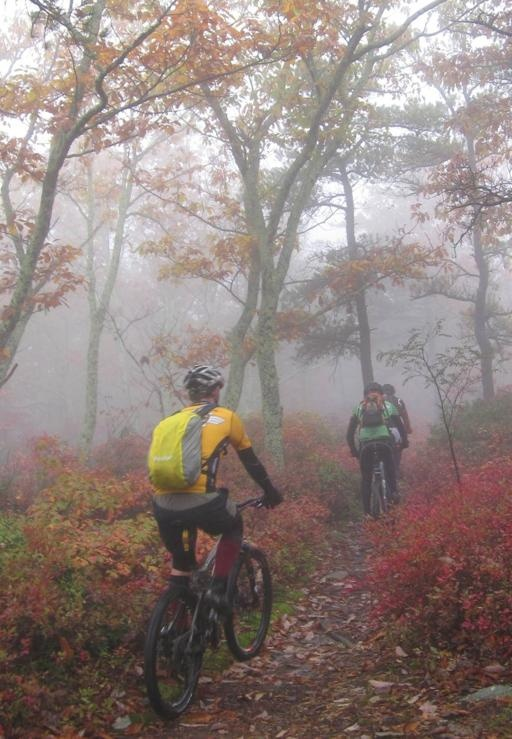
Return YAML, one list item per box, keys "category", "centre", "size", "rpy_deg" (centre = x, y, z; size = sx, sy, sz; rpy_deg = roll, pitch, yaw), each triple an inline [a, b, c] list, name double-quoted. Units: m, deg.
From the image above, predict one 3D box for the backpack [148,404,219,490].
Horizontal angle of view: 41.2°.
- category: "backpack"
  centre: [-0.648, 0.673, 5.680]
  size: [0.461, 0.689, 0.537]
  rpy_deg: [-2, 4, 10]

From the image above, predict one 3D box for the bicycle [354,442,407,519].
- category: "bicycle"
  centre: [1.914, 1.670, 10.385]
  size: [0.454, 1.166, 0.795]
  rpy_deg: [-4, 4, -20]

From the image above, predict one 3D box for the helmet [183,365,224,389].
- category: "helmet"
  centre: [-0.478, 0.054, 6.142]
  size: [0.295, 0.158, 0.209]
  rpy_deg: [-3, 5, -25]

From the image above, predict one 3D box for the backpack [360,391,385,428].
- category: "backpack"
  centre: [1.805, 0.636, 10.513]
  size: [0.438, 0.636, 0.359]
  rpy_deg: [0, -36, 14]
